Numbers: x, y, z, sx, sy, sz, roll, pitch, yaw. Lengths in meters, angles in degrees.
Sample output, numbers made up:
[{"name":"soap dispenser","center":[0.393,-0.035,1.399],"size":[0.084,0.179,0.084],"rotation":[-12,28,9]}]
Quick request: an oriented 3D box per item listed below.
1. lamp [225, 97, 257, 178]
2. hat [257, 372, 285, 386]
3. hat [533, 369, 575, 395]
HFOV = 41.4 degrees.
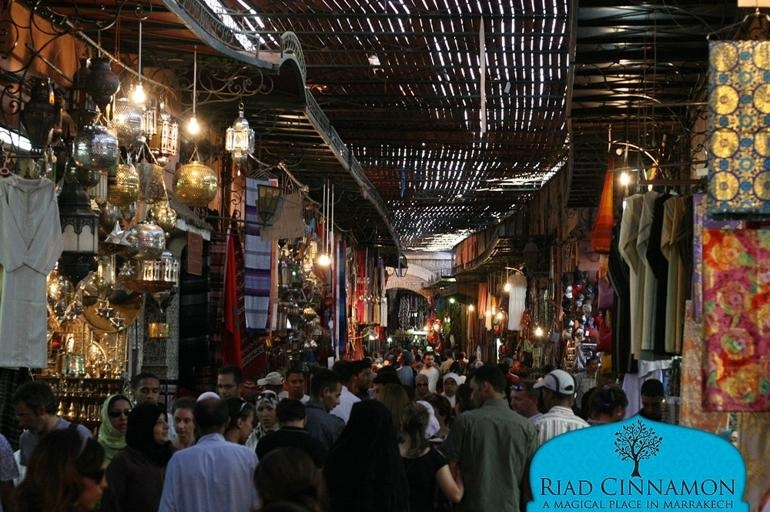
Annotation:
[{"name":"lamp","center":[-1.473,-1.275,10.328],"size":[0.272,0.682,0.414],"rotation":[4,-12,-9]},{"name":"hat","center":[-1.126,1.235,9.989],"size":[0.233,0.096,0.155],"rotation":[-1,1,-8]},{"name":"hat","center":[1.371,1.034,8.148],"size":[0.252,0.152,0.182],"rotation":[11,8,35]}]
